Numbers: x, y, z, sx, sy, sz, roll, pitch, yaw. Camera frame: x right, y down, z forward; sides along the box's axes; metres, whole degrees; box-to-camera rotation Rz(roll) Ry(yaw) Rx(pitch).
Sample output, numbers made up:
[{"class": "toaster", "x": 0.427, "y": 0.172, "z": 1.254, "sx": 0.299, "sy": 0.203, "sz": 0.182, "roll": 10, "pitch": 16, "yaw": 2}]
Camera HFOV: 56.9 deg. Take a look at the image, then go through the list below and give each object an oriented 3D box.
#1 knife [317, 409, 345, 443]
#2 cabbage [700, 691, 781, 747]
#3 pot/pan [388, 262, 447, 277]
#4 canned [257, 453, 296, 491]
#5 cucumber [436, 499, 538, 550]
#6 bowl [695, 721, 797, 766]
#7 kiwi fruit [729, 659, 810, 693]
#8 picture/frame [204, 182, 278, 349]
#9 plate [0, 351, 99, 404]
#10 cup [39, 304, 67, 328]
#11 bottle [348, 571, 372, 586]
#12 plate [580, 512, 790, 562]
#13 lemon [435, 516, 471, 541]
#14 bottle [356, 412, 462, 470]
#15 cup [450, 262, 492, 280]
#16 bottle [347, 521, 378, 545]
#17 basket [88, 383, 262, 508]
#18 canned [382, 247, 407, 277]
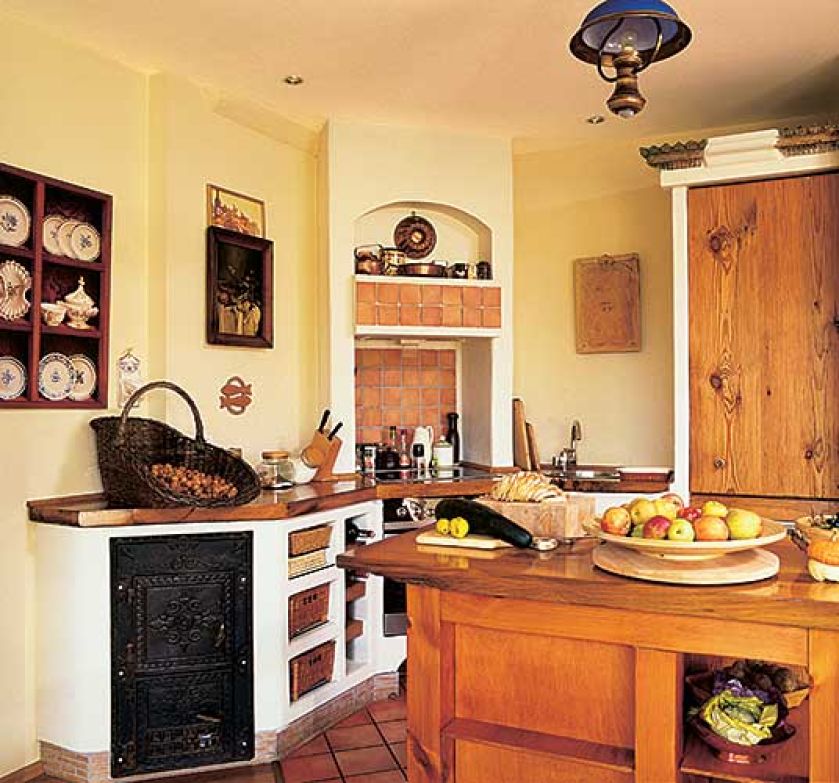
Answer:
[{"class": "knife", "x": -0.452, "y": 0.183, "z": 4.218, "sx": 0.171, "sy": 0.139, "sz": 0.048, "roll": 17, "pitch": -1, "yaw": 30}, {"class": "cabbage", "x": 0.803, "y": 0.817, "z": 1.949, "sx": 0.158, "sy": 0.143, "sz": 0.051, "roll": 14, "pitch": -34, "yaw": 18}, {"class": "pot/pan", "x": 0.017, "y": -0.718, "z": 4.500, "sx": 0.182, "sy": 0.046, "sz": 0.130, "roll": -2, "pitch": -4, "yaw": 14}, {"class": "canned", "x": -0.724, "y": 0.397, "z": 3.892, "sx": 0.196, "sy": 0.183, "sz": 0.173, "roll": 3, "pitch": -5, "yaw": -44}, {"class": "cucumber", "x": 0.210, "y": 0.407, "z": 2.427, "sx": 0.363, "sy": 0.111, "sz": 0.139, "roll": 0, "pitch": 0, "yaw": 38}, {"class": "bowl", "x": 0.834, "y": 0.900, "z": 1.972, "sx": 0.172, "sy": 0.062, "sz": 0.139, "roll": -1, "pitch": -4, "yaw": -20}, {"class": "kiwi fruit", "x": 0.929, "y": 0.741, "z": 2.056, "sx": 0.130, "sy": 0.039, "sz": 0.096, "roll": 0, "pitch": 1, "yaw": 41}, {"class": "picture/frame", "x": -0.927, "y": -0.649, "z": 4.062, "sx": 0.086, "sy": 0.758, "sz": 0.438, "roll": 0, "pitch": 0, "yaw": 31}, {"class": "plate", "x": -1.539, "y": -0.058, "z": 3.325, "sx": 0.033, "sy": 0.166, "sz": 0.599, "roll": 0, "pitch": 0, "yaw": 25}, {"class": "cup", "x": -1.539, "y": -0.321, "z": 3.286, "sx": 0.107, "sy": 0.063, "sz": 0.100, "roll": 1, "pitch": -3, "yaw": 0}, {"class": "bottle", "x": -0.285, "y": 0.916, "z": 3.811, "sx": 0.081, "sy": 0.060, "sz": 0.182, "roll": 0, "pitch": 0, "yaw": 10}, {"class": "plate", "x": 0.736, "y": 0.410, "z": 2.112, "sx": 0.528, "sy": 0.058, "sz": 0.372, "roll": 0, "pitch": 0, "yaw": 10}, {"class": "lemon", "x": 0.108, "y": 0.431, "z": 2.442, "sx": 0.094, "sy": 0.036, "sz": 0.066, "roll": 1, "pitch": -1, "yaw": 20}, {"class": "bottle", "x": -0.022, "y": 0.298, "z": 4.823, "sx": 0.719, "sy": 0.278, "sz": 0.330, "roll": 0, "pitch": 0, "yaw": -16}, {"class": "cup", "x": 0.314, "y": -0.726, "z": 4.611, "sx": 0.263, "sy": 0.093, "sz": 0.150, "roll": 0, "pitch": 0, "yaw": -12}, {"class": "bottle", "x": -0.278, "y": 0.699, "z": 3.847, "sx": 0.164, "sy": 0.104, "sz": 0.075, "roll": 0, "pitch": 0, "yaw": -17}, {"class": "basket", "x": -1.049, "y": 0.242, "z": 3.345, "sx": 0.735, "sy": 0.436, "sz": 0.517, "roll": -1, "pitch": -5, "yaw": 30}, {"class": "canned", "x": -0.144, "y": -0.762, "z": 4.569, "sx": 0.201, "sy": 0.122, "sz": 0.147, "roll": -3, "pitch": 6, "yaw": -35}]
